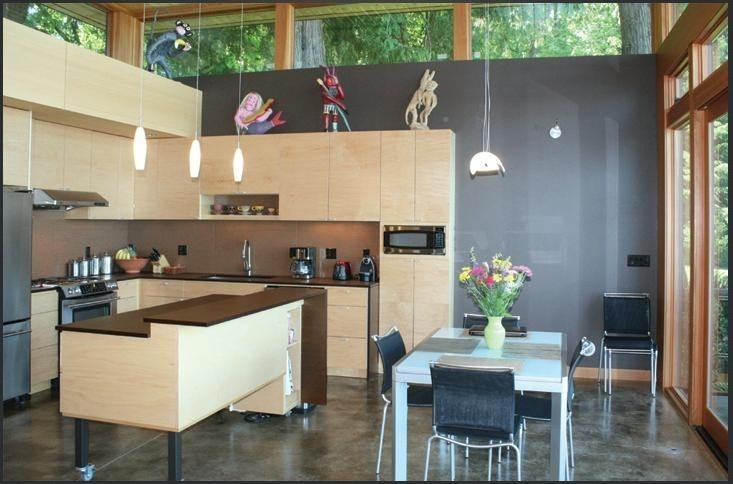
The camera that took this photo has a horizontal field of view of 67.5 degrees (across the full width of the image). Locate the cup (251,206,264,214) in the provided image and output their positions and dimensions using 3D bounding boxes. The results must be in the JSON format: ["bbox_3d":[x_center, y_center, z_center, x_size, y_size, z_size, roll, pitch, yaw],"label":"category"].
[{"bbox_3d":[-1.496,-0.437,7.614,0.150,0.097,0.095,-1,0,-3],"label":"cup"}]

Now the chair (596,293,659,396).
[{"bbox_3d":[3.190,1.241,6.628,0.667,1.145,0.831,5,11,23],"label":"chair"}]

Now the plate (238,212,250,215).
[{"bbox_3d":[-1.691,-0.387,7.627,0.091,0.031,0.052,-1,1,6],"label":"plate"}]

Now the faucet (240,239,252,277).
[{"bbox_3d":[-1.698,0.240,7.899,0.117,0.492,0.185,-8,13,-36],"label":"faucet"}]

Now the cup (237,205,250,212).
[{"bbox_3d":[-1.691,-0.457,7.683,0.123,0.076,0.081,-1,-1,11],"label":"cup"}]

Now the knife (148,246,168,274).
[{"bbox_3d":[-3.016,0.294,8.063,0.279,0.308,0.524,-4,10,-22],"label":"knife"}]

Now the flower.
[{"bbox_3d":[1.154,0.432,5.289,0.928,0.857,0.782,1,-4,2],"label":"flower"}]

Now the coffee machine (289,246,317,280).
[{"bbox_3d":[-0.835,0.289,7.464,0.368,0.502,0.425,-3,-7,28],"label":"coffee machine"}]

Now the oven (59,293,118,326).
[{"bbox_3d":[-3.465,0.845,6.829,0.410,0.399,0.638,17,18,40],"label":"oven"}]

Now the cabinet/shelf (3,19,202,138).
[{"bbox_3d":[-3.326,-1.908,6.738,0.481,1.185,2.331,6,11,30],"label":"cabinet/shelf"}]

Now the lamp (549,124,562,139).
[{"bbox_3d":[2.413,-1.397,6.933,0.143,0.164,0.062,-2,10,3],"label":"lamp"}]

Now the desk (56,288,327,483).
[{"bbox_3d":[-1.576,0.670,5.186,1.600,1.334,2.844,1,2,18],"label":"desk"}]

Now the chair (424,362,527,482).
[{"bbox_3d":[0.934,1.511,4.637,0.798,1.195,0.748,3,11,16],"label":"chair"}]

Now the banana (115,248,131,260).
[{"bbox_3d":[-3.515,0.183,7.953,0.173,0.087,0.209,-1,16,-27],"label":"banana"}]

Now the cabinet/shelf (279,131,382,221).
[{"bbox_3d":[-0.410,-0.858,7.186,1.316,1.006,0.489,0,-1,12],"label":"cabinet/shelf"}]

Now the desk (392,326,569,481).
[{"bbox_3d":[1.054,1.093,4.772,1.160,0.786,1.704,0,2,13],"label":"desk"}]

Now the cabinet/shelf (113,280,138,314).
[{"bbox_3d":[-3.144,0.727,7.160,0.254,0.414,0.445,0,-2,20],"label":"cabinet/shelf"}]

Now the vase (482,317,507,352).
[{"bbox_3d":[1.185,0.840,4.977,0.277,0.277,0.265,1,-5,-17],"label":"vase"}]

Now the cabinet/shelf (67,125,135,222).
[{"bbox_3d":[-3.526,-0.929,7.245,0.450,1.193,1.277,2,1,27],"label":"cabinet/shelf"}]
